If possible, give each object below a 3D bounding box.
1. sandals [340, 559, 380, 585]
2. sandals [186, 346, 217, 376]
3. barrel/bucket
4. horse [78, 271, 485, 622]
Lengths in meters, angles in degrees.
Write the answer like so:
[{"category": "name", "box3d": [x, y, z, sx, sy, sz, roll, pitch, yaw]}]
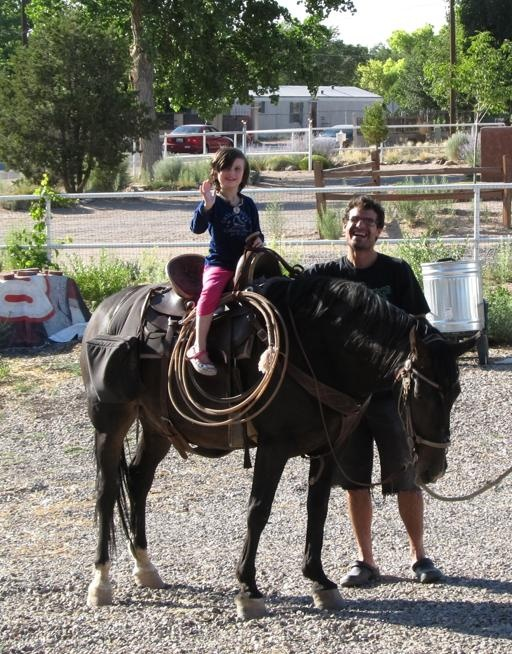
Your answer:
[{"category": "sandals", "box3d": [0.453, 1.075, 3.528, 0.074, 0.073, 0.188, -7, -11, 31]}, {"category": "sandals", "box3d": [-0.225, 0.137, 3.228, 0.170, 0.065, 0.065, 40, 19, 35]}, {"category": "barrel/bucket", "box3d": [1.685, -0.273, 7.055, 0.558, 0.564, 0.568, -4, 3, 0]}, {"category": "horse", "box3d": [0.082, 0.486, 3.368, 1.913, 1.325, 0.551, -4, -5, 31]}]
